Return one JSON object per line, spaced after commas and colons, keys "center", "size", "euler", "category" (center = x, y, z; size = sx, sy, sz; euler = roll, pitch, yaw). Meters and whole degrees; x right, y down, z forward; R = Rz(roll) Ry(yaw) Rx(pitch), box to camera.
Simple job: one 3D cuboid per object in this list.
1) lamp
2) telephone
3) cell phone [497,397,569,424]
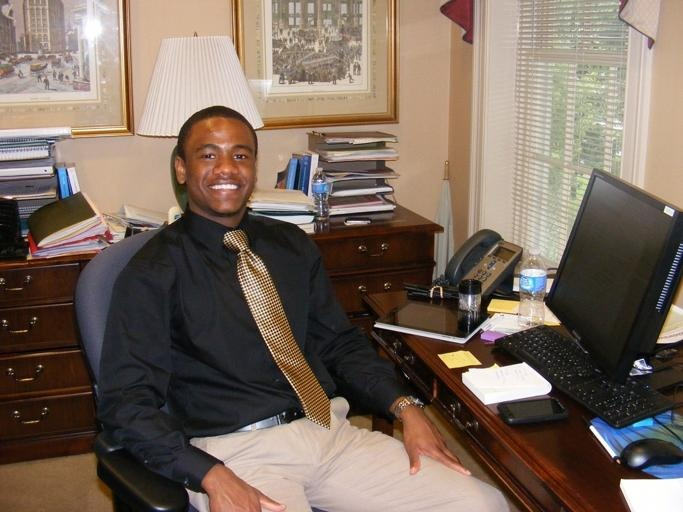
{"center": [-0.695, -0.839, 2.569], "size": [0.642, 0.455, 0.651], "euler": [5, 27, 8], "category": "lamp"}
{"center": [0.606, 0.023, 2.235], "size": [0.297, 0.246, 0.264], "euler": [10, 22, 19], "category": "telephone"}
{"center": [0.500, 0.399, 1.366], "size": [0.125, 0.024, 0.070], "euler": [-5, 16, -9], "category": "cell phone"}
